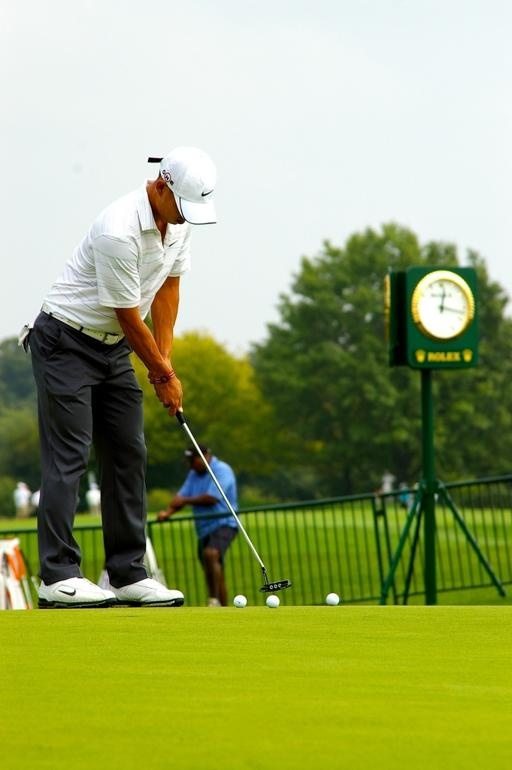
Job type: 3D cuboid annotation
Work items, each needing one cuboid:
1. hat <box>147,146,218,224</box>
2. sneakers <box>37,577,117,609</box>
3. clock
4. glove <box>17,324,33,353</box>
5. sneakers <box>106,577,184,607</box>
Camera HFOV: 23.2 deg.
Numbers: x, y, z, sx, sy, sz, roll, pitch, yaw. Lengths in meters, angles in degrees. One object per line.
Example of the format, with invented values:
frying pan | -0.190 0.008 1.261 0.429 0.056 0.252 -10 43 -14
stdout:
hat | -0.185 -0.613 3.671 0.191 0.284 0.141 -5 -33 -28
sneakers | -0.516 0.596 3.587 0.233 0.098 0.088 -2 -6 16
clock | 0.856 -0.365 5.685 0.300 0.322 0.098 -2 -2 -26
glove | -0.710 -0.144 3.860 0.020 0.078 0.078 8 4 -21
sneakers | -0.327 0.634 3.814 0.241 0.096 0.089 -2 -7 23
